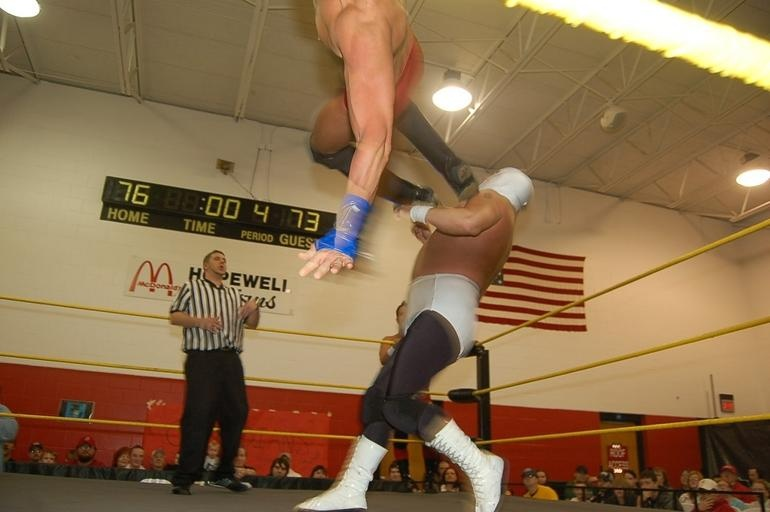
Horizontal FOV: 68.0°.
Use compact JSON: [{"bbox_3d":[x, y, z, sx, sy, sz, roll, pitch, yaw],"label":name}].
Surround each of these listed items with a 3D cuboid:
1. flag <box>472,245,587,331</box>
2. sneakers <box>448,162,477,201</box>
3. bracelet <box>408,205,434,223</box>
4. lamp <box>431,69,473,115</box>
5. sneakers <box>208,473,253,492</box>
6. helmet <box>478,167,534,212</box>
[{"bbox_3d":[2.183,0.555,8.647,1.629,1.087,0.088,4,-24,-12],"label":"flag"},{"bbox_3d":[0.616,-0.568,4.539,0.146,0.388,0.163,-13,24,4],"label":"sneakers"},{"bbox_3d":[0.266,-0.313,4.219,0.145,0.109,0.119,19,-4,9],"label":"bracelet"},{"bbox_3d":[0.962,-2.458,8.179,0.591,0.306,0.573,0,1,-29],"label":"lamp"},{"bbox_3d":[-1.388,2.029,5.131,0.374,0.112,0.137,-5,-20,23],"label":"sneakers"},{"bbox_3d":[0.939,-0.544,4.483,0.310,0.361,0.344,-13,-2,8],"label":"helmet"}]
